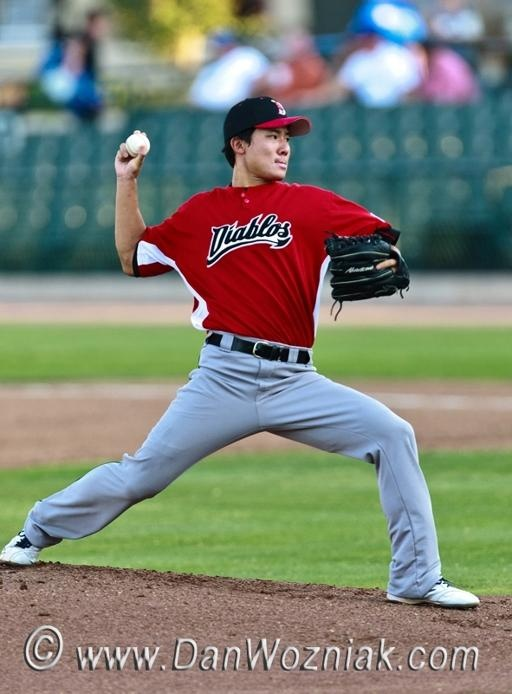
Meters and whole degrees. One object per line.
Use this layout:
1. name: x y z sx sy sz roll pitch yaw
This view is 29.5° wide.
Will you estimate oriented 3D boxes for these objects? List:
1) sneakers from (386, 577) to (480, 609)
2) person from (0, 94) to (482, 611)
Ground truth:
1. sneakers: 0.550 0.760 3.026 0.301 0.087 0.088 1 -3 8
2. person: -0.021 0.052 3.118 1.463 1.400 0.805 0 26 10
